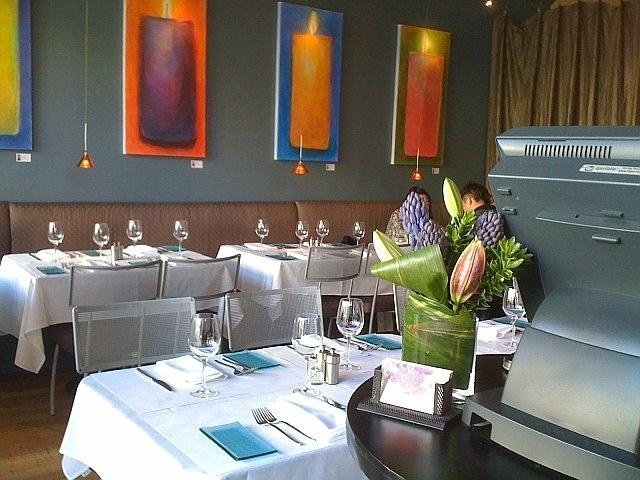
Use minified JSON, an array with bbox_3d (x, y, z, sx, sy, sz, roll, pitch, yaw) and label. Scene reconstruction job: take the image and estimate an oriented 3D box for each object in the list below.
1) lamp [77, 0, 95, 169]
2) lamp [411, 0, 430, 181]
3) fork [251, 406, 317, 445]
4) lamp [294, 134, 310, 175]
[{"bbox_3d":[-2.329,-1.515,4.714,0.161,1.620,0.096,-5,9,-34],"label":"lamp"},{"bbox_3d":[1.386,-1.815,6.593,0.242,2.014,0.082,-4,9,-30],"label":"lamp"},{"bbox_3d":[-0.100,0.502,1.313,0.064,0.037,0.247,-4,15,-39],"label":"fork"},{"bbox_3d":[-0.227,-1.025,5.742,0.179,0.499,0.459,0,8,-2],"label":"lamp"}]
